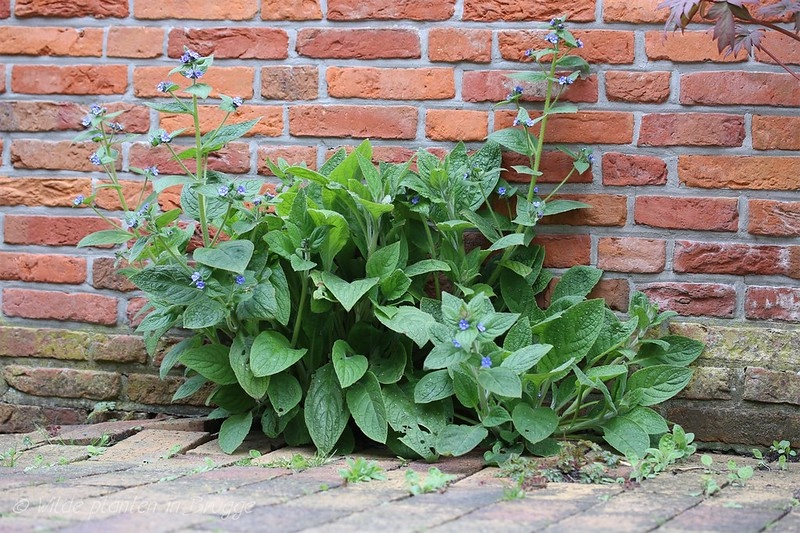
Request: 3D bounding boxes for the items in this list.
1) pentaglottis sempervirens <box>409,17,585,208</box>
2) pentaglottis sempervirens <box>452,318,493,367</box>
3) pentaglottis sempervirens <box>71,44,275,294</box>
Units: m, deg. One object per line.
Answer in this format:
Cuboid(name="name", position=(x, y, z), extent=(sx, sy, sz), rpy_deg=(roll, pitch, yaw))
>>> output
Cuboid(name="pentaglottis sempervirens", position=(0.390, -0.603, 2.597), extent=(0.568, 0.715, 0.605), rpy_deg=(4, 19, 13))
Cuboid(name="pentaglottis sempervirens", position=(0.224, 0.211, 2.009), extent=(0.099, 0.147, 0.222), rpy_deg=(1, 2, 26))
Cuboid(name="pentaglottis sempervirens", position=(-0.726, -0.340, 2.332), extent=(0.719, 0.682, 0.512), rpy_deg=(-16, 21, -38))
